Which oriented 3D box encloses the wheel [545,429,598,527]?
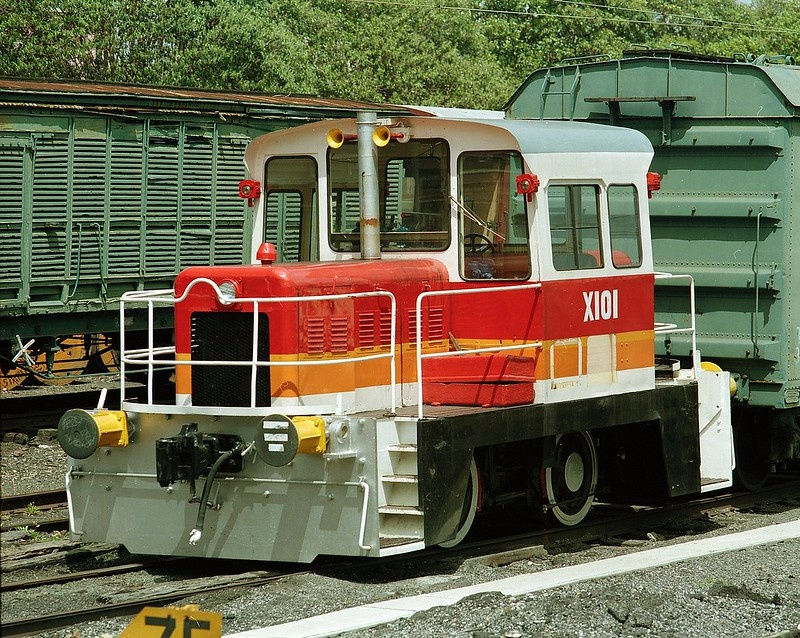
[{"bbox_3d":[1.665,1.533,9.408,0.197,1.125,0.938,-1,7,35],"label":"wheel"}]

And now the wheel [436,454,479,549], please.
[{"bbox_3d":[0.615,1.651,8.534,0.194,0.717,0.670,2,10,-24],"label":"wheel"}]
